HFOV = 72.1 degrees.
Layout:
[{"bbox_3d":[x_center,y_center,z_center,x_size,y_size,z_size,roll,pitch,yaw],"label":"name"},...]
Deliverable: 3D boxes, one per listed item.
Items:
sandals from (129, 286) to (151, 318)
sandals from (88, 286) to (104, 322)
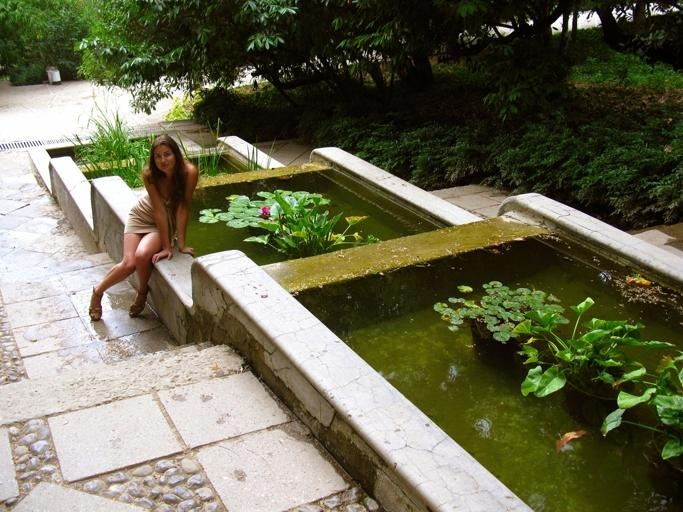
[{"bbox_3d":[-1.508,0.359,3.554,0.115,0.294,0.083,26,20,20],"label":"sandals"},{"bbox_3d":[-1.796,0.357,3.463,0.103,0.277,0.113,0,12,-7],"label":"sandals"}]
